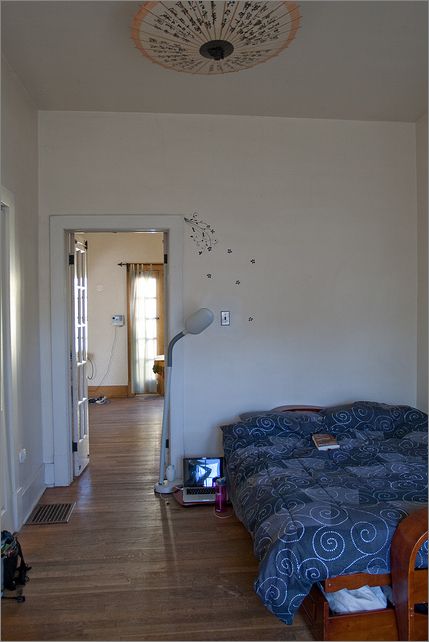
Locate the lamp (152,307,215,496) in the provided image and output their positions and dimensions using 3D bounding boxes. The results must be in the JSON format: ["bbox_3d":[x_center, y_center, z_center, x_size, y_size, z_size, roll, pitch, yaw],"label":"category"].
[{"bbox_3d":[-0.213,0.547,3.635,0.431,1.275,0.461,0,2,4],"label":"lamp"}]

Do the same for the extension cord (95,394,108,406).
[{"bbox_3d":[-1.583,1.094,7.123,0.171,0.040,0.552,-1,2,-13],"label":"extension cord"}]

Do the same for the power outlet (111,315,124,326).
[{"bbox_3d":[-1.401,0.005,7.528,0.237,0.227,0.127,0,-6,-2],"label":"power outlet"}]

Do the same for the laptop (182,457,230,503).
[{"bbox_3d":[-0.081,1.028,3.397,0.267,0.198,0.235,0,3,-3],"label":"laptop"}]
